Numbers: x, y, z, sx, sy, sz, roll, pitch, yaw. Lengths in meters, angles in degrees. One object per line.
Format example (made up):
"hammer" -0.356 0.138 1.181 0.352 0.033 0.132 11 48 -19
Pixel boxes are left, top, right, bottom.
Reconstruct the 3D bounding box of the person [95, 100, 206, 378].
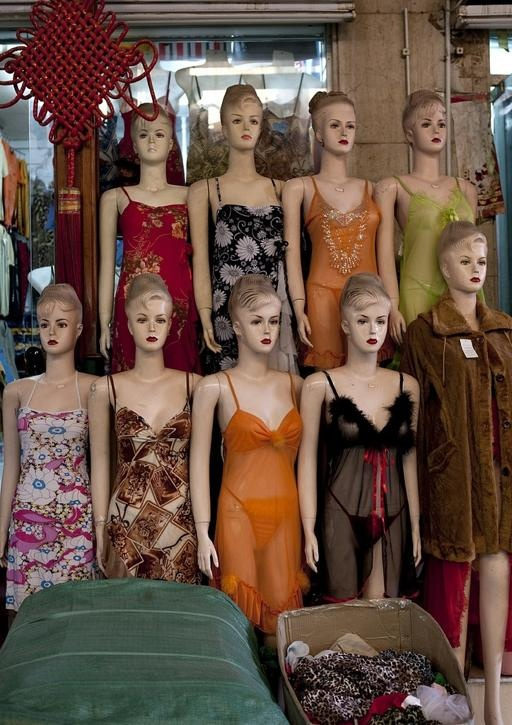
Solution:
"person" -0.469 -0.293 3.007 0.452 1.605 0.363 -1 14 -12

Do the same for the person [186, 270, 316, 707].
"person" 0.015 0.554 2.390 0.500 1.662 0.346 -3 10 -19

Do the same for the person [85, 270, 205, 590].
"person" -0.367 0.502 2.435 0.482 1.601 0.344 -1 17 -8
